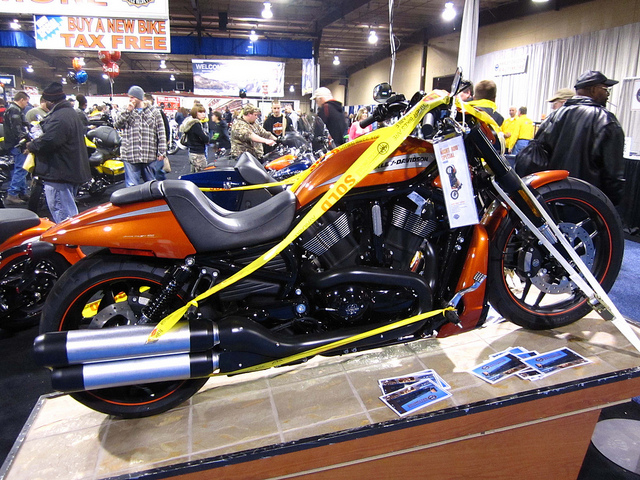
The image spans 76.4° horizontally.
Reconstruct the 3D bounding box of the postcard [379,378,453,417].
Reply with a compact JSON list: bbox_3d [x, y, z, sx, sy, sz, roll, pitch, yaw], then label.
[{"bbox_3d":[0.463,0.752,1.961,0.310,0.018,0.163,-10,21,-23],"label":"postcard"}]

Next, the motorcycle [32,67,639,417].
[{"bbox_3d":[0.129,-0.067,1.993,2.885,1.442,0.506,-5,19,-10],"label":"motorcycle"}]
